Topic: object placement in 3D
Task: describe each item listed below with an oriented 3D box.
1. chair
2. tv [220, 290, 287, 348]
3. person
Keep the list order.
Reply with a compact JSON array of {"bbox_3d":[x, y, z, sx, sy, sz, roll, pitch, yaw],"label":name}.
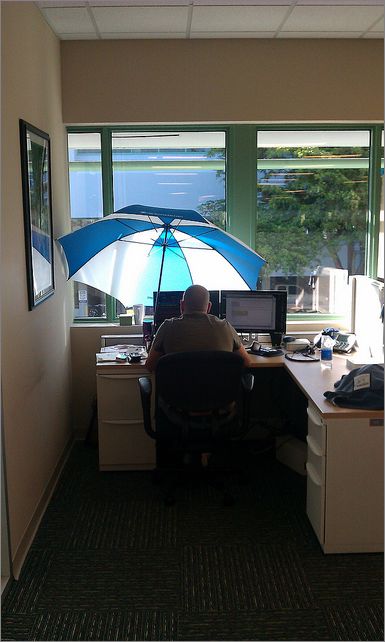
[{"bbox_3d":[-0.007,0.596,2.574,0.573,0.918,0.629,-1,21,-3],"label":"chair"},{"bbox_3d":[0.417,-0.031,3.277,0.332,0.337,0.152,1,7,5],"label":"tv"},{"bbox_3d":[0.015,0.030,2.673,0.424,0.774,0.296,1,34,3],"label":"person"}]
